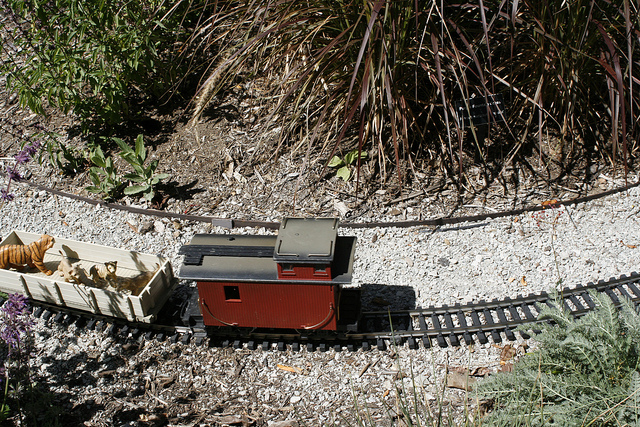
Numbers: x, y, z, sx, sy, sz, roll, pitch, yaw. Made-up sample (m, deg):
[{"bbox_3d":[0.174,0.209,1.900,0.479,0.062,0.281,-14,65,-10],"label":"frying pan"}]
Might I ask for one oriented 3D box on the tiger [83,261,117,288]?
[{"bbox_3d":[-3.146,0.865,8.326,0.730,0.241,0.339,-2,93,27],"label":"tiger"}]
